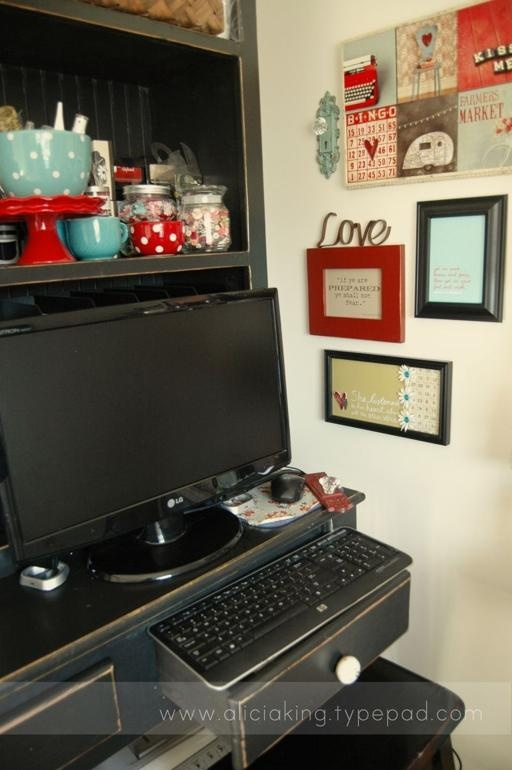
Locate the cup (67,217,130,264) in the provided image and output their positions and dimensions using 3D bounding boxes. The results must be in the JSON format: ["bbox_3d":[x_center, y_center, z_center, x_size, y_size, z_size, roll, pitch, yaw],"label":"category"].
[{"bbox_3d":[-0.284,-0.261,1.028,0.099,0.072,0.079,-10,19,-17],"label":"cup"}]

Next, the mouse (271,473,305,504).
[{"bbox_3d":[0.062,0.205,1.160,0.039,0.021,0.066,5,26,7],"label":"mouse"}]

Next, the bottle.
[{"bbox_3d":[-0.152,-0.336,1.170,0.222,0.143,0.131,-6,15,-20],"label":"bottle"}]
